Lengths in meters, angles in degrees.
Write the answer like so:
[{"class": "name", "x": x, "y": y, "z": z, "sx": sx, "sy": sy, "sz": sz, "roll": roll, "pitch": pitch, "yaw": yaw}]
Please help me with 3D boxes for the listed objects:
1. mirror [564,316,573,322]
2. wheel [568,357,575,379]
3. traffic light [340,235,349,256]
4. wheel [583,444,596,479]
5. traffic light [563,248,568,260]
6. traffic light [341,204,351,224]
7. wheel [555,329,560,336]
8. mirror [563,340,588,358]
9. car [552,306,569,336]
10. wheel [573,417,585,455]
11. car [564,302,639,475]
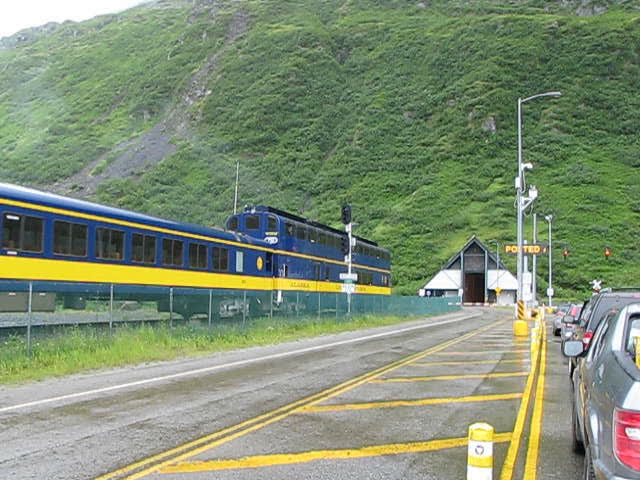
[{"class": "mirror", "x": 6.634, "y": 2.137, "z": 17.519, "sx": 0.195, "sy": 0.169, "sz": 0.527, "roll": 0, "pitch": -2, "yaw": 18}, {"class": "wheel", "x": 4.987, "y": 2.584, "z": 13.006, "sx": 0.034, "sy": 0.536, "sz": 1.019, "roll": 0, "pitch": -2, "yaw": 17}, {"class": "traffic light", "x": 1.259, "y": 0.270, "z": 32.263, "sx": 0.311, "sy": 0.907, "sz": 1.007, "roll": 1, "pitch": -1, "yaw": 1}, {"class": "wheel", "x": 3.403, "y": 2.874, "z": 8.329, "sx": 0.092, "sy": 0.434, "sz": 0.407, "roll": 3, "pitch": -1, "yaw": 21}, {"class": "traffic light", "x": 26.616, "y": 1.485, "z": 71.203, "sx": 0.382, "sy": 1.410, "sz": 0.335, "roll": 30, "pitch": -33, "yaw": -20}, {"class": "traffic light", "x": 1.231, "y": -1.244, "z": 30.822, "sx": 0.346, "sy": 0.938, "sz": 0.963, "roll": 1, "pitch": -1, "yaw": -4}, {"class": "wheel", "x": 10.960, "y": 4.316, "z": 30.302, "sx": 0.300, "sy": 0.344, "sz": 0.173, "roll": 1, "pitch": -15, "yaw": -1}, {"class": "mirror", "x": 3.955, "y": 1.705, "z": 10.170, "sx": 0.352, "sy": 0.300, "sz": 0.699, "roll": 0, "pitch": -2, "yaw": 21}, {"class": "car", "x": 10.917, "y": 3.705, "z": 30.034, "sx": 0.907, "sy": 1.026, "sz": 2.009, "roll": 0, "pitch": 3, "yaw": 13}, {"class": "wheel", "x": 4.010, "y": 3.075, "z": 10.184, "sx": 0.155, "sy": 0.539, "sz": 0.326, "roll": 0, "pitch": -1, "yaw": 21}, {"class": "car", "x": 3.575, "y": 1.914, "z": 8.626, "sx": 1.131, "sy": 1.324, "sz": 2.649, "roll": 1, "pitch": 3, "yaw": 11}]
